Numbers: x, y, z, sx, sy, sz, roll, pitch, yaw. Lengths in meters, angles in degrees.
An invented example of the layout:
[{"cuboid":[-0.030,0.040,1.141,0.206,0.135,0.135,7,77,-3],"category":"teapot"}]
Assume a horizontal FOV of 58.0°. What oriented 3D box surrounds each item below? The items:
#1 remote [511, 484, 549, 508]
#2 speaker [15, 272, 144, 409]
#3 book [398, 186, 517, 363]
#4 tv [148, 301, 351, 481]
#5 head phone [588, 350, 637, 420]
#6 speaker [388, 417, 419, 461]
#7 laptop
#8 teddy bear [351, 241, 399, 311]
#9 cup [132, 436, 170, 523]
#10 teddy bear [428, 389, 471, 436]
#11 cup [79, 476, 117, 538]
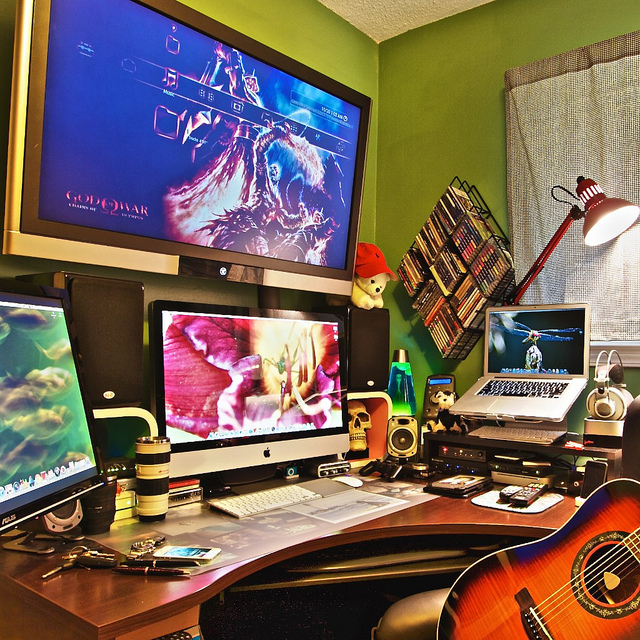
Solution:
[{"cuboid":[0.608,0.493,1.654,0.050,0.021,0.167,5,8,28],"category":"remote"},{"cuboid":[-0.656,0.058,1.535,0.346,0.326,0.318,-1,-6,-4],"category":"speaker"},{"cuboid":[0.540,-0.188,2.337,0.231,0.490,0.695,-21,-25,-27],"category":"book"},{"cuboid":[-0.191,0.196,1.763,0.742,0.474,0.069,4,-8,-43],"category":"tv"},{"cuboid":[0.973,0.210,1.914,0.121,0.216,0.394,2,-1,27],"category":"head phone"},{"cuboid":[0.304,0.423,2.070,0.113,0.141,0.093,2,-1,7],"category":"speaker"},{"cuboid":[0.701,0.138,1.988,0.388,0.398,0.266,1,-1,40],"category":"laptop"},{"cuboid":[0.196,-0.180,2.400,0.218,0.250,0.277,-2,12,-43],"category":"teddy bear"},{"cuboid":[-0.412,0.400,1.474,0.103,0.178,0.096,5,3,0],"category":"cup"},{"cuboid":[0.480,0.346,2.167,0.173,0.160,0.125,-1,-2,-10],"category":"teddy bear"},{"cuboid":[-0.511,0.429,1.363,0.076,0.121,0.095,10,6,34],"category":"cup"}]
